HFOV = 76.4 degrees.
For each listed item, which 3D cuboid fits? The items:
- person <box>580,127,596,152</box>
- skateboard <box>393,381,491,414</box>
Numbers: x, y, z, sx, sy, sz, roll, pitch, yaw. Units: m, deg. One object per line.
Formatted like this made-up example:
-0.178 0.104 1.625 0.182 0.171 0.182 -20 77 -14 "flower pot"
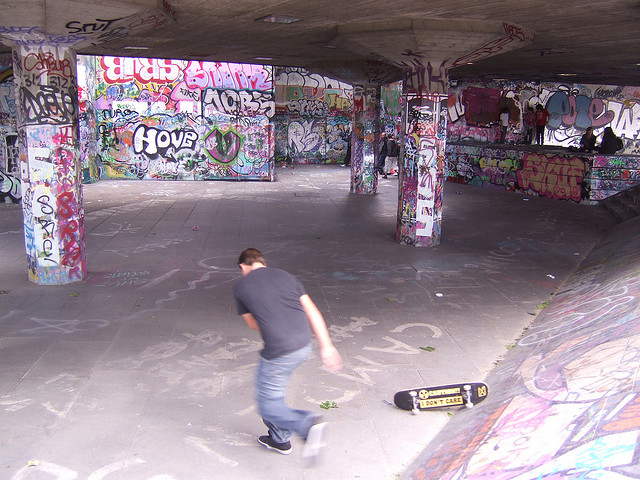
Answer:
13.317 -4.978 20.086 0.573 1.101 1.035 12 21 29 "person"
1.436 1.886 4.874 1.339 0.310 0.167 2 -20 -19 "skateboard"
